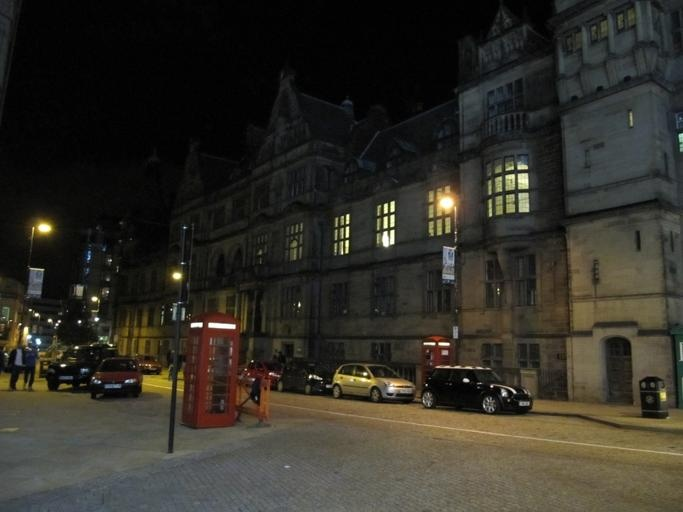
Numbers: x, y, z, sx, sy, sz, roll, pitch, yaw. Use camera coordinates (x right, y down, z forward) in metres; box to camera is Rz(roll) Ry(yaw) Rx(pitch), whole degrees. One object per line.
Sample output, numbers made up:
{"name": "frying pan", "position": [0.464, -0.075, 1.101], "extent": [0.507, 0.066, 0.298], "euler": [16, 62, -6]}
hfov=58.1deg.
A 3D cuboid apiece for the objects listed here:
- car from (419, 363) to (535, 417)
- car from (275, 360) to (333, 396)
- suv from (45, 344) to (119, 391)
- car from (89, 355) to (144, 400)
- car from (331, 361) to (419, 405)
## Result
{"name": "car", "position": [5.779, 5.887, 27.214], "extent": [4.499, 2.086, 1.115], "euler": [-13, -19, 41]}
{"name": "car", "position": [-2.112, 7.004, 35.638], "extent": [3.538, 1.974, 0.781], "euler": [-11, -18, 39]}
{"name": "suv", "position": [-14.260, 6.101, 34.032], "extent": [2.072, 1.984, 3.655], "euler": [-2, -15, 1]}
{"name": "car", "position": [-10.862, 5.854, 29.674], "extent": [2.198, 2.023, 1.923], "euler": [7, -15, -21]}
{"name": "car", "position": [1.754, 6.550, 31.952], "extent": [1.936, 1.596, 3.895], "euler": [10, -19, -37]}
